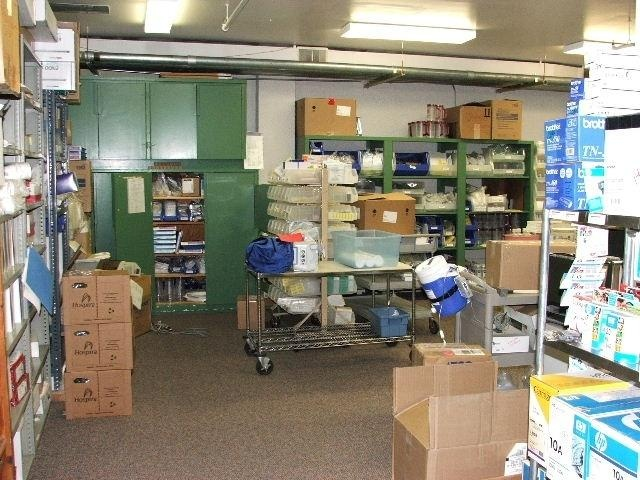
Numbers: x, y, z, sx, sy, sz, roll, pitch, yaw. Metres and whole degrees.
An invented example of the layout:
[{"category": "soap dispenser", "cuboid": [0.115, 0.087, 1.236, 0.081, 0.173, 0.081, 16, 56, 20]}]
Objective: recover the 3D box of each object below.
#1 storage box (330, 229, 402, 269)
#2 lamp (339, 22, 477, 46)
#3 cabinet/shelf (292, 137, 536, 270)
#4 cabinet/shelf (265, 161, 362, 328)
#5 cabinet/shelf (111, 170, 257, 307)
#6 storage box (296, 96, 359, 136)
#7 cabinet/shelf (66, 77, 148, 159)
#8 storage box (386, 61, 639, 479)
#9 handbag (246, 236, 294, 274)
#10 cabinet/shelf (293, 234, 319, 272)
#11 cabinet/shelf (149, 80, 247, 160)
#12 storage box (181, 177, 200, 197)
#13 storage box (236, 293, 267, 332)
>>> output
[{"category": "storage box", "cuboid": [0.390, 0.048, 4.971, 0.390, 0.212, 0.479, 0, 7, -18]}, {"category": "lamp", "cuboid": [1.006, -2.433, 6.284, 1.522, 0.129, 0.562, 0, 9, -6]}, {"category": "cabinet/shelf", "cuboid": [1.087, -0.483, 6.424, 2.028, 1.065, 0.462, -1, 4, -13]}, {"category": "cabinet/shelf", "cuboid": [-0.019, -0.271, 5.885, 0.758, 1.207, 0.929, -1, 19, -4]}, {"category": "cabinet/shelf", "cuboid": [-1.680, -0.121, 7.023, 1.655, 1.544, 0.519, -1, 14, 1]}, {"category": "storage box", "cuboid": [0.084, -1.561, 7.121, 0.609, 0.353, 0.591, 0, 3, -12]}, {"category": "cabinet/shelf", "cuboid": [-2.430, -1.435, 6.742, 1.174, 1.019, 0.650, 2, 5, 13]}, {"category": "storage box", "cuboid": [0.856, 0.365, 2.345, 0.431, 2.020, 1.114, -4, 10, -28]}, {"category": "handbag", "cuboid": [-0.441, 0.110, 4.804, 0.483, 0.192, 0.367, 4, 22, -4]}, {"category": "cabinet/shelf", "cuboid": [-0.127, 0.142, 4.769, 0.348, 0.277, 0.118, 13, 11, 26]}, {"category": "cabinet/shelf", "cuboid": [-1.602, -1.517, 6.810, 1.199, 0.950, 0.439, -5, 19, -24]}, {"category": "storage box", "cuboid": [-1.620, -0.669, 6.812, 0.239, 0.223, 0.236, 0, 6, 5]}, {"category": "storage box", "cuboid": [-0.772, 0.809, 5.861, 0.492, 0.448, 0.502, 1, 0, -5]}]
